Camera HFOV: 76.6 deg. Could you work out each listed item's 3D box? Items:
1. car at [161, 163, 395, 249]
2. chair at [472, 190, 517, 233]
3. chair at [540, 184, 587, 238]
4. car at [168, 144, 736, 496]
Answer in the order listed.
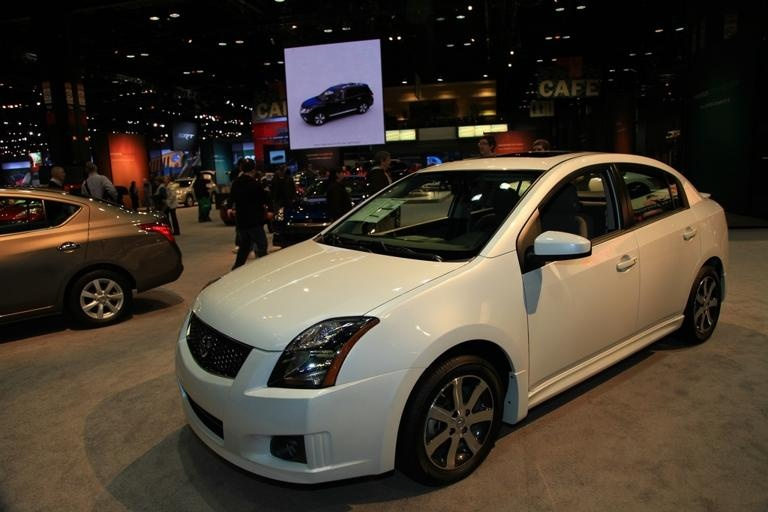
[{"bbox_3d":[-1.045,-1.506,12.278,1.862,1.614,4.514,0,12,33],"label":"car"},{"bbox_3d":[0.959,-0.343,4.432,0.264,0.302,0.333,13,6,40],"label":"chair"},{"bbox_3d":[1.521,-0.376,4.211,0.358,0.447,0.507,3,15,45],"label":"chair"},{"bbox_3d":[0.873,0.282,4.311,4.545,1.749,2.462,-12,16,-34],"label":"car"}]
